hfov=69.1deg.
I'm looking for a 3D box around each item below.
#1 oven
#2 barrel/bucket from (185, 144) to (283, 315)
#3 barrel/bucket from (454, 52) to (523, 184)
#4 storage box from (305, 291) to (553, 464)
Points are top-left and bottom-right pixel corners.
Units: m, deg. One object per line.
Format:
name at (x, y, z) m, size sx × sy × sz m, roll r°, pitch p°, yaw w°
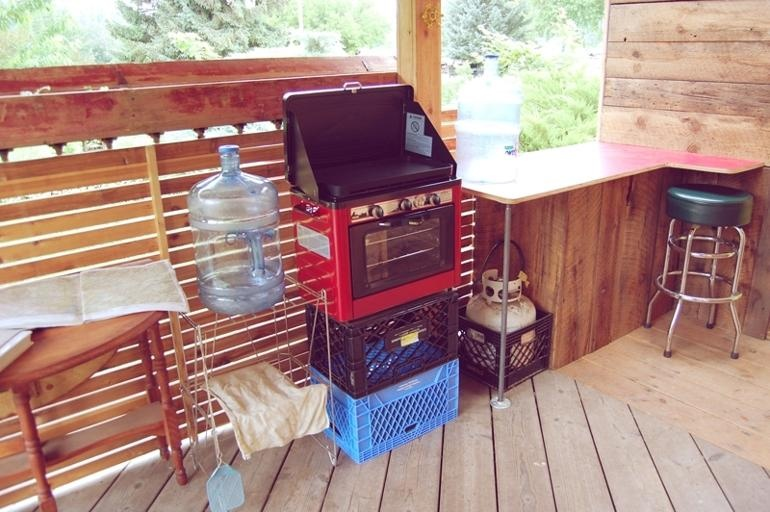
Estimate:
oven at (-0.053, -0.072, 3.031) m, size 0.905 × 0.551 × 0.588 m, roll -15°, pitch 20°, yaw -38°
barrel/bucket at (-0.706, -0.135, 2.617) m, size 0.441 × 0.740 × 0.400 m, roll -10°, pitch 21°, yaw -11°
barrel/bucket at (0.603, -0.820, 3.302) m, size 0.383 × 0.703 × 0.568 m, roll -1°, pitch 20°, yaw 11°
storage box at (0.222, 0.567, 3.167) m, size 1.207 × 0.810 × 0.372 m, roll -13°, pitch 22°, yaw -24°
